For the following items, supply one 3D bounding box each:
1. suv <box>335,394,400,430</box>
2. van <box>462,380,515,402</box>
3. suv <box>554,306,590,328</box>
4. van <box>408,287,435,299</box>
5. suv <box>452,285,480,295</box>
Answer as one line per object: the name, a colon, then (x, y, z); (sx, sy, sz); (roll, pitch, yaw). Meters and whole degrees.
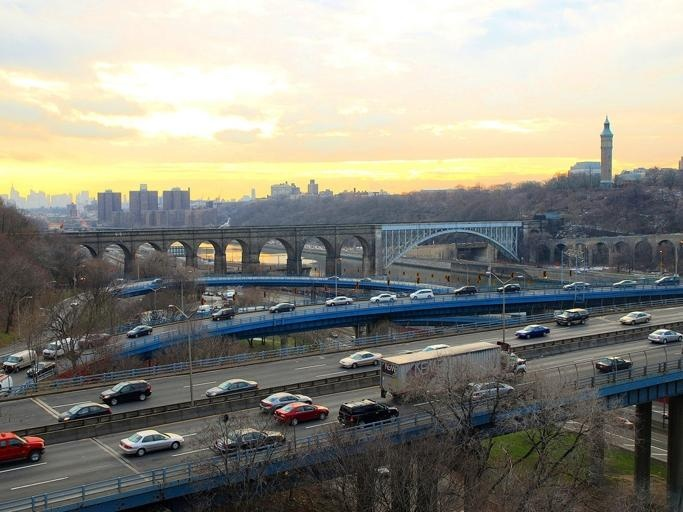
suv: (1.952, 10.781, 67.444); (3.892, 1.401, 1.781); (-8, 11, -24)
van: (10.643, 9.492, 69.299); (3.313, 1.004, 1.328); (-6, 6, -23)
suv: (22.993, 5.977, 95.319); (2.921, 1.206, 1.597); (2, -3, -29)
van: (9.136, 4.188, 109.957); (2.257, 0.915, 1.262); (1, -1, -5)
suv: (14.671, 3.949, 114.253); (2.617, 1.009, 1.135); (1, 0, -10)
